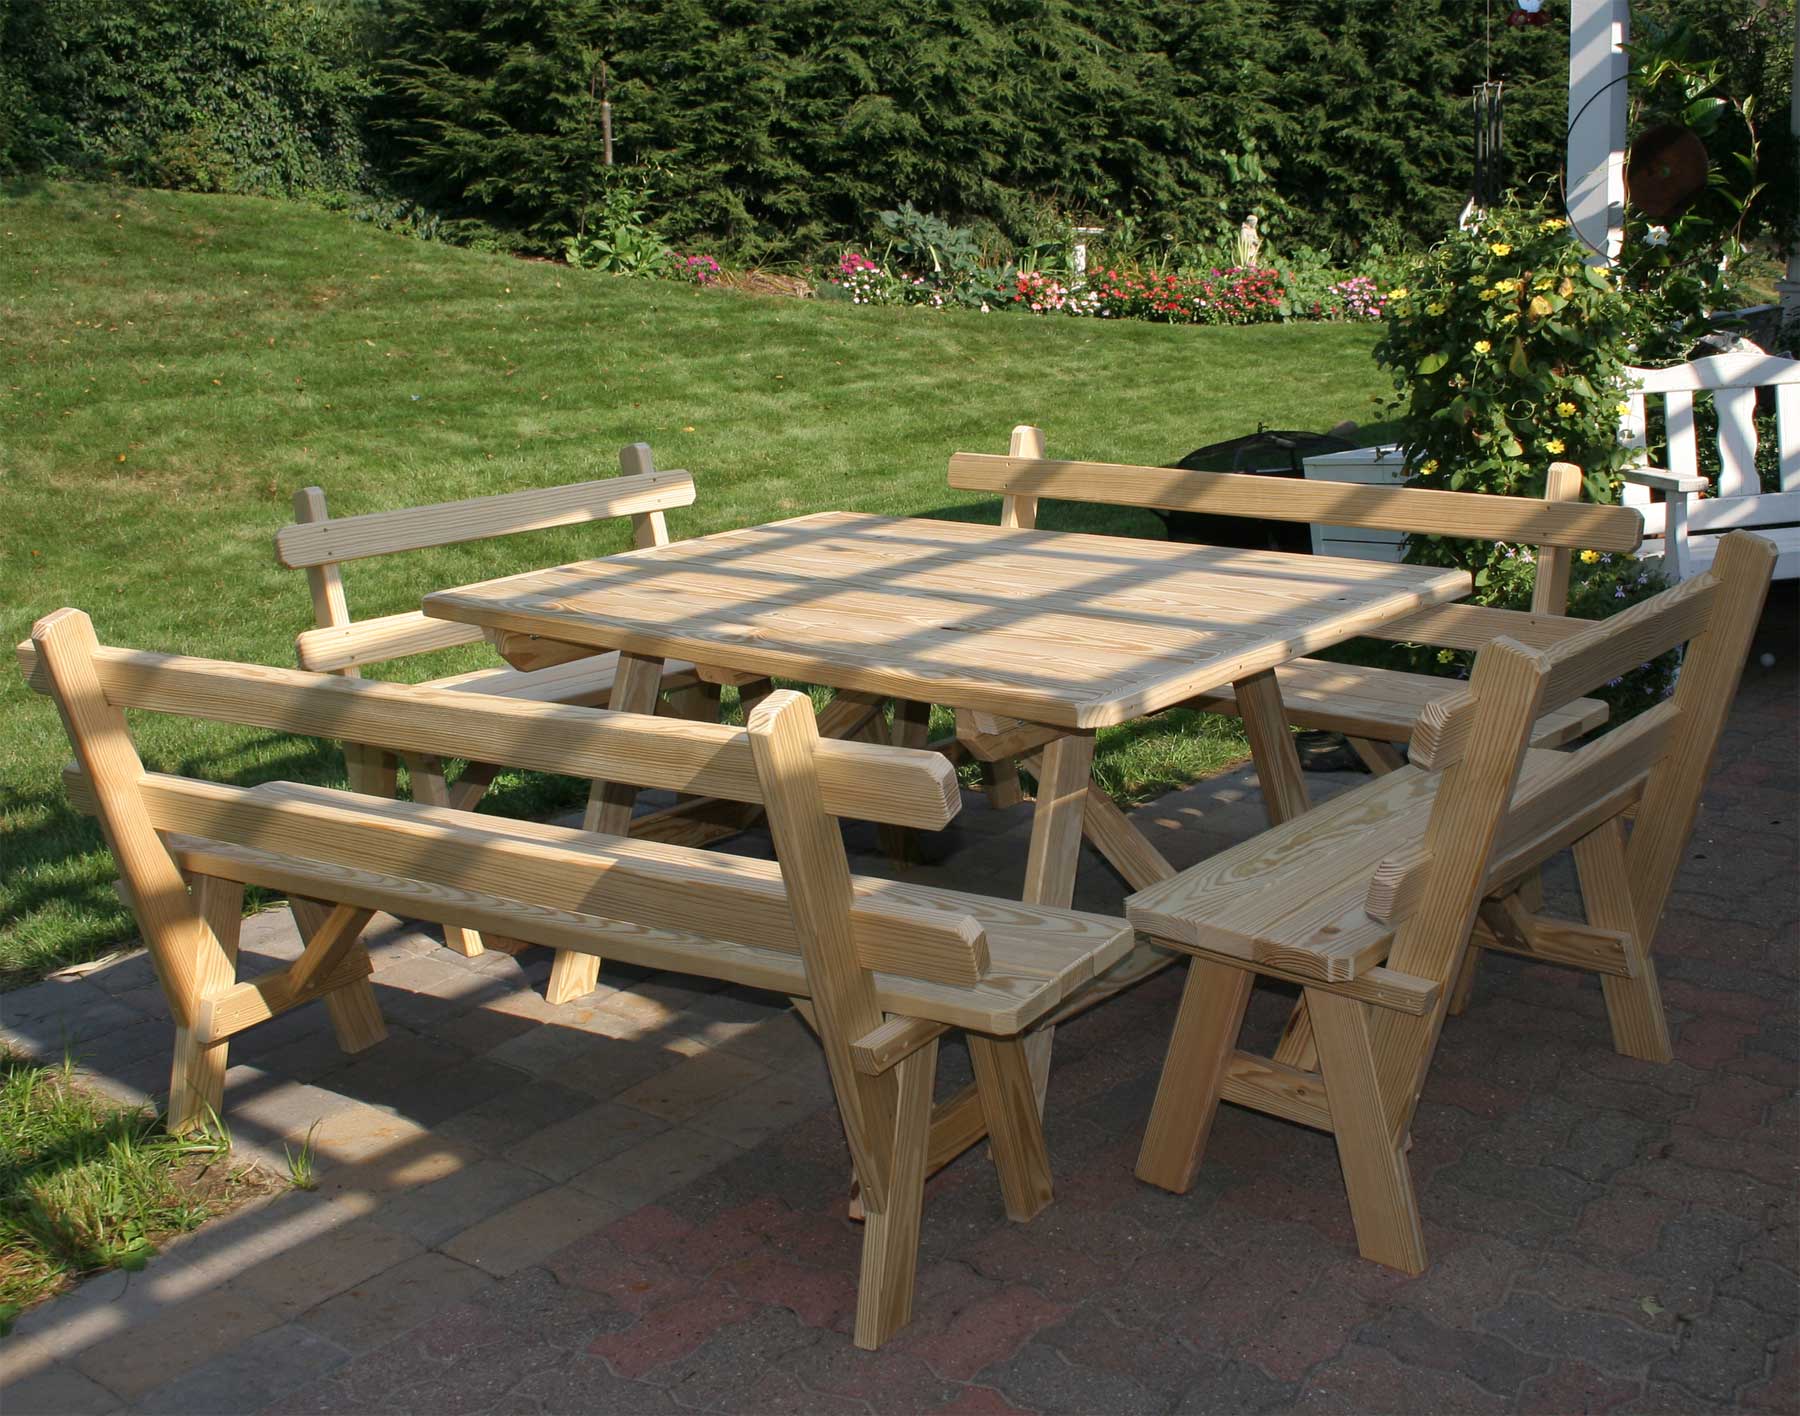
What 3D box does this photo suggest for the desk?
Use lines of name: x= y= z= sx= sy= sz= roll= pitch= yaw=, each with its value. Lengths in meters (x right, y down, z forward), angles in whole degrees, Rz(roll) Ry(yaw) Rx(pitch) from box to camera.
desk: x=0.003 y=-0.050 z=3.988 sx=1.974 sy=0.645 sz=1.352 roll=11 pitch=26 yaw=30

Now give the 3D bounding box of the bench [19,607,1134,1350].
bench: x=-0.728 y=0.627 z=3.202 sx=2.078 sy=0.721 sz=0.703 roll=7 pitch=21 yaw=25

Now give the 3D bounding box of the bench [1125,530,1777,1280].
bench: x=1.250 y=0.479 z=3.313 sx=1.929 sy=1.198 sz=0.952 roll=-20 pitch=29 yaw=-41
